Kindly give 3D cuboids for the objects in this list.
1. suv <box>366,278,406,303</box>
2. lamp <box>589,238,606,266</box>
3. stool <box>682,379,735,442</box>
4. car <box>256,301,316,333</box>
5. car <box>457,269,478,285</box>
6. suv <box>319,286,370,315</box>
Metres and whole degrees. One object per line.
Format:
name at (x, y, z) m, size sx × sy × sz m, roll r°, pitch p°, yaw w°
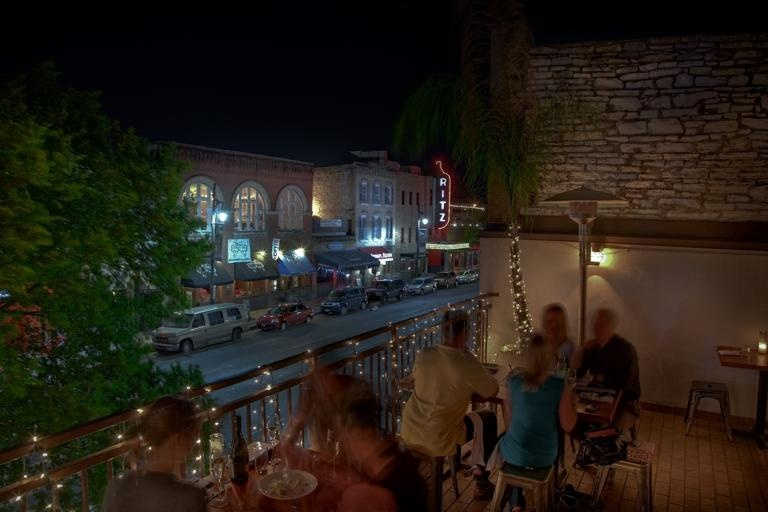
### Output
suv at (0.015, 2.436, 35.901) m, size 1.250 × 1.095 × 2.352 m, roll -3°, pitch -4°, yaw 32°
lamp at (4.325, -0.041, 10.494) m, size 0.283 × 0.492 × 0.151 m, roll 0°, pitch 4°, yaw 22°
stool at (5.859, 2.798, 9.603) m, size 0.884 × 0.932 × 0.931 m, roll -3°, pitch 5°, yaw 19°
car at (-5.223, 3.266, 27.707) m, size 1.224 × 0.961 × 2.763 m, roll -2°, pitch -3°, yaw 34°
car at (7.510, 1.912, 46.410) m, size 0.980 × 0.845 × 2.427 m, roll -6°, pitch -5°, yaw 28°
suv at (-2.543, 2.787, 32.116) m, size 1.355 × 1.210 × 2.594 m, roll -4°, pitch -5°, yaw 34°
